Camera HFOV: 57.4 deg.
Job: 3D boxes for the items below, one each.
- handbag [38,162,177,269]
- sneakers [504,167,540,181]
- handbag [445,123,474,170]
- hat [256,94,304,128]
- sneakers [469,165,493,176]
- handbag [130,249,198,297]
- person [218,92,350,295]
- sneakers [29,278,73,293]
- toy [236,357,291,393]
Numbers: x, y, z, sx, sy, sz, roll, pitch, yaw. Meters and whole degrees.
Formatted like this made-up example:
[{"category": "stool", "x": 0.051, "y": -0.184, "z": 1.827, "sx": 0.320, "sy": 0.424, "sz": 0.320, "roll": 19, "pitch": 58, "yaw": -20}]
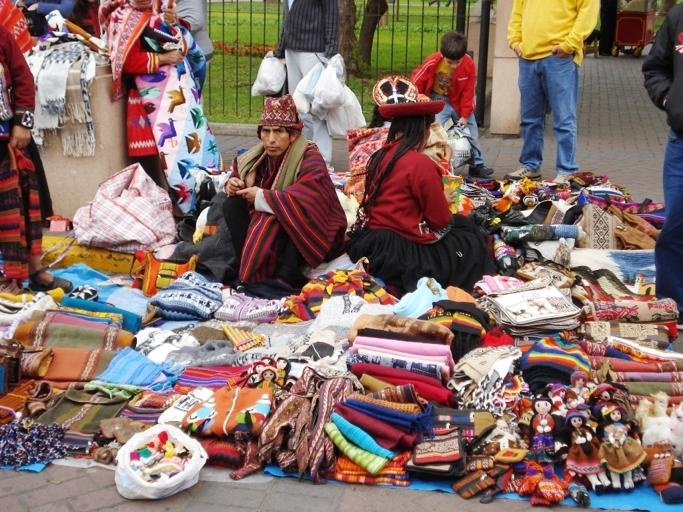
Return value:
[{"category": "handbag", "x": -2.448, "y": -0.355, "z": 6.210, "sx": 1.355, "sy": 0.696, "sz": 1.069, "roll": 5, "pitch": 29, "yaw": 3}, {"category": "sneakers", "x": 2.247, "y": -1.022, "z": 7.760, "sx": 0.484, "sy": 0.199, "sz": 0.179, "roll": 2, "pitch": 5, "yaw": -5}, {"category": "handbag", "x": 1.454, "y": -1.381, "z": 8.053, "sx": 0.465, "sy": 0.578, "sz": 0.615, "roll": 4, "pitch": 14, "yaw": 12}, {"category": "hat", "x": -0.535, "y": -1.276, "z": 5.433, "sx": 0.355, "sy": 0.261, "sz": 0.250, "roll": 5, "pitch": 14, "yaw": 10}, {"category": "sneakers", "x": 1.850, "y": -1.142, "z": 8.272, "sx": 0.310, "sy": 0.150, "sz": 0.135, "roll": 3, "pitch": 22, "yaw": 13}, {"category": "handbag", "x": -1.570, "y": 0.150, "z": 5.590, "sx": 0.523, "sy": 0.418, "sz": 0.372, "roll": -1, "pitch": -3, "yaw": -2}, {"category": "person", "x": -0.503, "y": -0.579, "z": 5.517, "sx": 1.094, "sy": 1.654, "sz": 0.632, "roll": 1, "pitch": 11, "yaw": -1}, {"category": "sneakers", "x": -2.492, "y": 0.251, "z": 5.378, "sx": 0.352, "sy": 0.088, "sz": 0.155, "roll": -2, "pitch": 22, "yaw": -8}, {"category": "toy", "x": -0.463, "y": 0.726, "z": 3.959, "sx": 0.189, "sy": 0.088, "sz": 0.234, "roll": 4, "pitch": 16, "yaw": 3}]
